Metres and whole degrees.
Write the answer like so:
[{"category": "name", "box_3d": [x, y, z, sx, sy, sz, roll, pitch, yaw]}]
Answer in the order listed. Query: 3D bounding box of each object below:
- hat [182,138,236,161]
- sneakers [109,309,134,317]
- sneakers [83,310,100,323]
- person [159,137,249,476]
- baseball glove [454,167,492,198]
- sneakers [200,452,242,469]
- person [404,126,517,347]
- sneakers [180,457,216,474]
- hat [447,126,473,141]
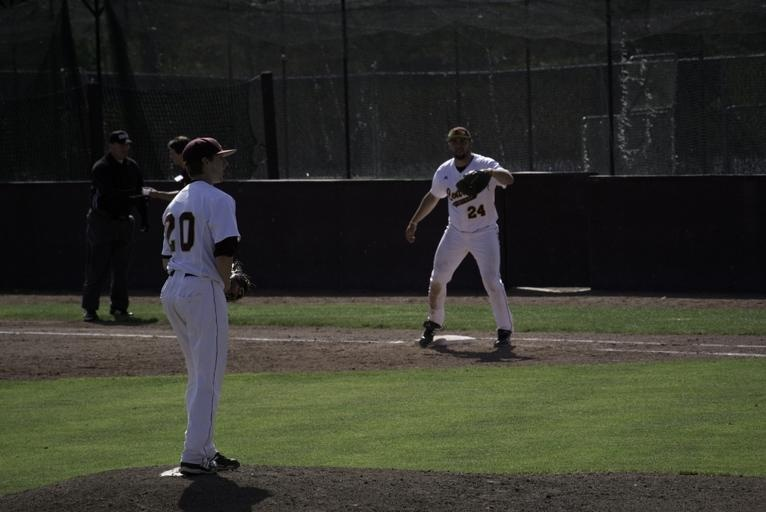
[{"category": "hat", "box_3d": [-1.936, -1.202, 13.039, 0.573, 0.237, 0.386, -2, 4, -17]}, {"category": "sneakers", "box_3d": [-4.272, 0.908, 19.094, 0.375, 0.146, 0.131, -1, 6, -21]}, {"category": "sneakers", "box_3d": [-4.645, 0.977, 18.877, 0.347, 0.223, 0.113, 3, 6, 12]}, {"category": "person", "box_3d": [-1.986, 0.532, 12.861, 0.888, 3.578, 1.054, -2, 12, -8]}, {"category": "baseball glove", "box_3d": [1.263, -1.042, 16.378, 0.335, 0.196, 0.436, -26, -6, 31]}, {"category": "sneakers", "box_3d": [-1.801, 2.254, 12.862, 0.418, 0.164, 0.140, 0, 7, -10]}, {"category": "person", "box_3d": [1.176, -0.254, 16.976, 1.486, 3.226, 0.833, 5, 13, 23]}, {"category": "sneakers", "box_3d": [-2.018, 2.305, 12.824, 0.408, 0.180, 0.139, -2, 4, -13]}, {"category": "hat", "box_3d": [1.110, -1.784, 16.940, 0.470, 0.306, 0.618, 0, 9, 7]}]
